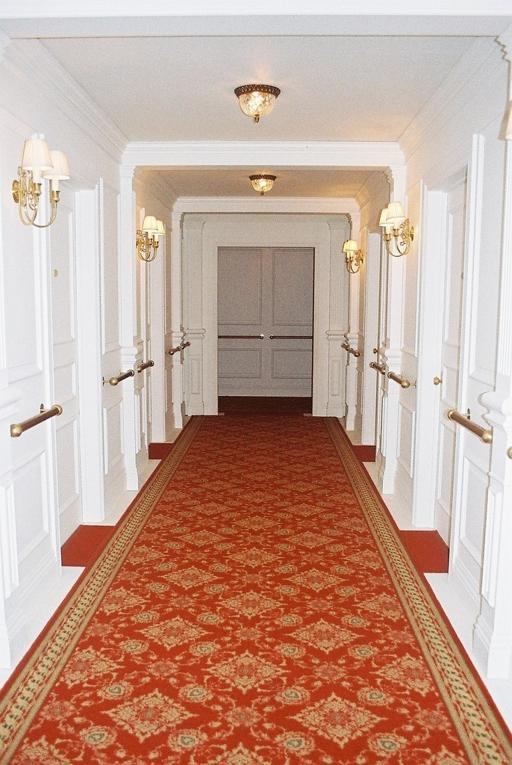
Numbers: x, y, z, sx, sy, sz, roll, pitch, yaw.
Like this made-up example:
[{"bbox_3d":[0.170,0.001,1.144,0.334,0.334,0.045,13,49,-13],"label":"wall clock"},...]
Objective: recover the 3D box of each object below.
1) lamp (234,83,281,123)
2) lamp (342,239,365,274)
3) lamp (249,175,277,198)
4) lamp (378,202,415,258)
[{"bbox_3d":[0.002,-1.719,3.105,0.260,0.191,0.257,-1,0,-3],"label":"lamp"},{"bbox_3d":[1.385,-1.763,7.071,0.254,0.506,0.698,1,1,11],"label":"lamp"},{"bbox_3d":[0.083,-2.257,5.661,0.270,0.218,0.267,-1,1,-1],"label":"lamp"},{"bbox_3d":[1.165,-1.267,4.101,0.201,0.370,0.399,-1,9,6],"label":"lamp"}]
